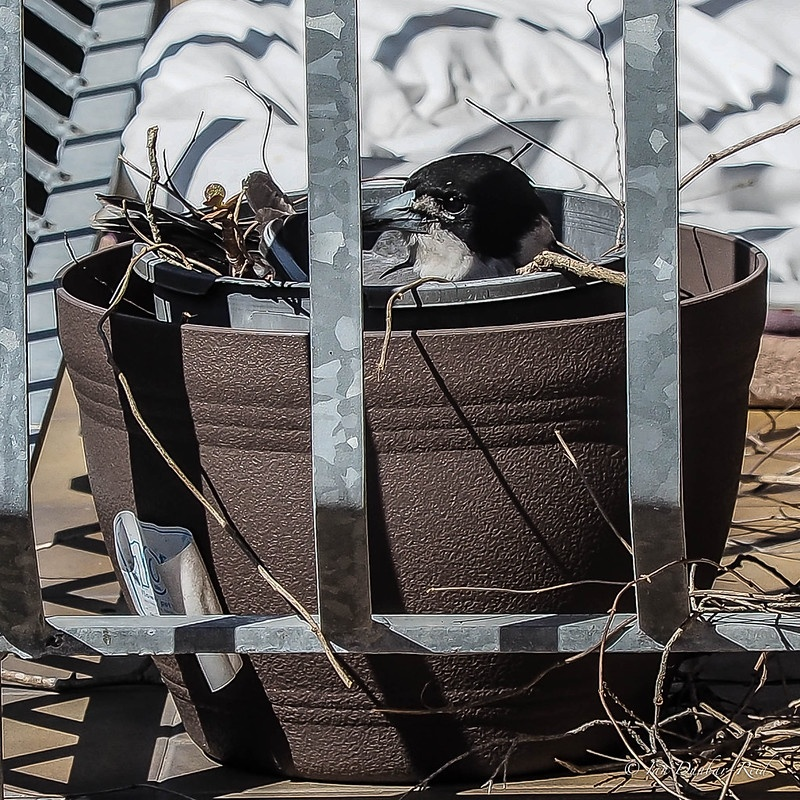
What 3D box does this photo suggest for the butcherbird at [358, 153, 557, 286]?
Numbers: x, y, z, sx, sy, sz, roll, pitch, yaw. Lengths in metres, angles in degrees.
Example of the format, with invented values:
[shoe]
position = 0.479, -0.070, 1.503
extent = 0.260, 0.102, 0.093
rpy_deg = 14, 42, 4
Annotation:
[butcherbird]
position = 0.049, -0.191, 2.309
extent = 0.165, 0.137, 0.254
rpy_deg = 21, 21, 38
